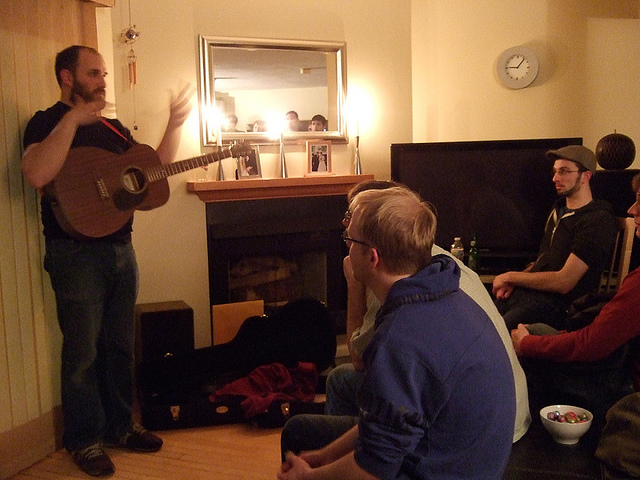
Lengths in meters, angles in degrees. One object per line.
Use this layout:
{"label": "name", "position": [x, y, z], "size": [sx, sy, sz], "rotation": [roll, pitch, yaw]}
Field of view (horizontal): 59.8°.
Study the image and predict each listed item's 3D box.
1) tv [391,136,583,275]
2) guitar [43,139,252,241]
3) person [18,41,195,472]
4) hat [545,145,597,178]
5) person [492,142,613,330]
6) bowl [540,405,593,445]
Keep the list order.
{"label": "tv", "position": [1.127, -0.261, 3.604], "size": [0.858, 0.724, 0.270], "rotation": [-1, 3, 5]}
{"label": "guitar", "position": [-0.927, -0.289, 2.874], "size": [0.182, 0.438, 0.920], "rotation": [6, 16, 38]}
{"label": "person", "position": [-1.127, 0.022, 2.981], "size": [0.637, 2.116, 0.969], "rotation": [-5, 11, -12]}
{"label": "hat", "position": [1.585, -0.534, 3.457], "size": [0.274, 0.156, 0.204], "rotation": [29, 13, 4]}
{"label": "person", "position": [1.362, 0.008, 3.506], "size": [0.826, 1.254, 0.770], "rotation": [2, -1, -14]}
{"label": "bowl", "position": [0.950, 0.708, 2.151], "size": [0.220, 0.128, 0.232], "rotation": [11, -26, 5]}
